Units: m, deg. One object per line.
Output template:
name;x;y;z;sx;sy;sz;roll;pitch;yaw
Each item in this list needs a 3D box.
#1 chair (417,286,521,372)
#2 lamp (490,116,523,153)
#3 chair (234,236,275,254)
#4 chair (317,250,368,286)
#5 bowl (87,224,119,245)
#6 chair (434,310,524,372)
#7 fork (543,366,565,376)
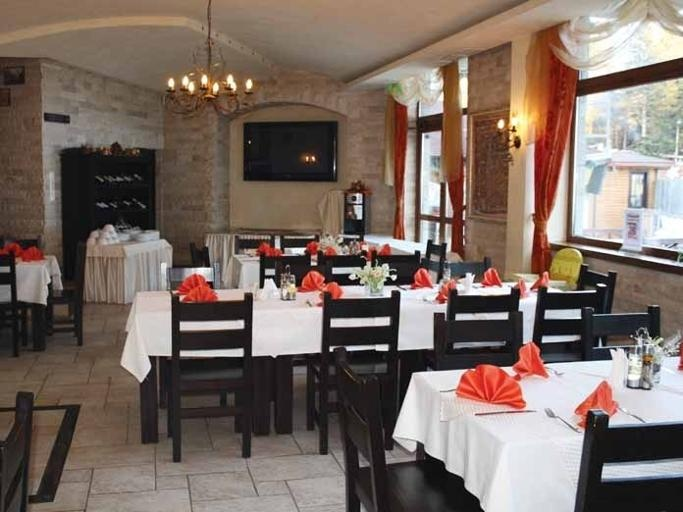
chair;0.842;0.505;3.842;0.464;0.788;0.507;-1;16;-5
lamp;2.105;-1.551;7.202;0.279;0.388;0.252;-2;7;-29
chair;-1.124;-0.139;7.444;0.459;0.420;0.262;1;2;-11
chair;-0.004;0.214;5.651;0.492;0.443;0.286;0;2;-15
bowl;-3.543;-0.294;8.608;0.326;0.230;0.345;2;0;0
chair;0.850;0.536;3.581;0.343;0.565;0.364;0;10;-6
fork;1.154;0.629;3.142;0.032;0.027;0.166;-12;2;-9
